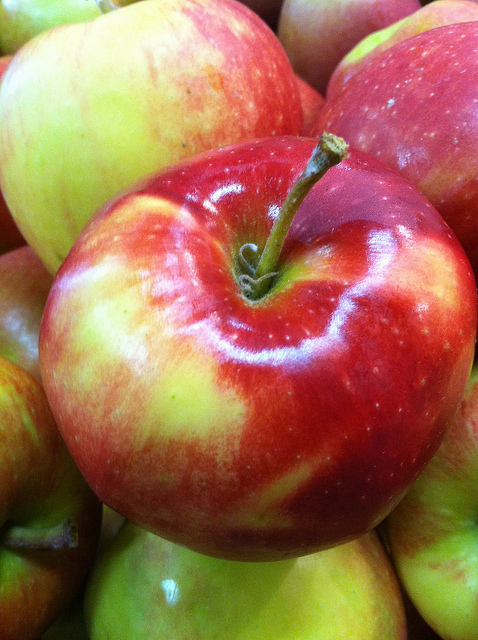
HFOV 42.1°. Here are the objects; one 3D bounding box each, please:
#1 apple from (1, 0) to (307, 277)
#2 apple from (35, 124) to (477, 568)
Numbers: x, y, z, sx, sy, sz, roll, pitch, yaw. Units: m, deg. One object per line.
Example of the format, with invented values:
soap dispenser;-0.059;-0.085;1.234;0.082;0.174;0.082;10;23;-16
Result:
apple;-0.093;-0.195;0.717;0.285;0.280;0.284;-5;106;-2
apple;-0.021;0.025;0.580;0.318;0.364;0.340;-1;48;8
